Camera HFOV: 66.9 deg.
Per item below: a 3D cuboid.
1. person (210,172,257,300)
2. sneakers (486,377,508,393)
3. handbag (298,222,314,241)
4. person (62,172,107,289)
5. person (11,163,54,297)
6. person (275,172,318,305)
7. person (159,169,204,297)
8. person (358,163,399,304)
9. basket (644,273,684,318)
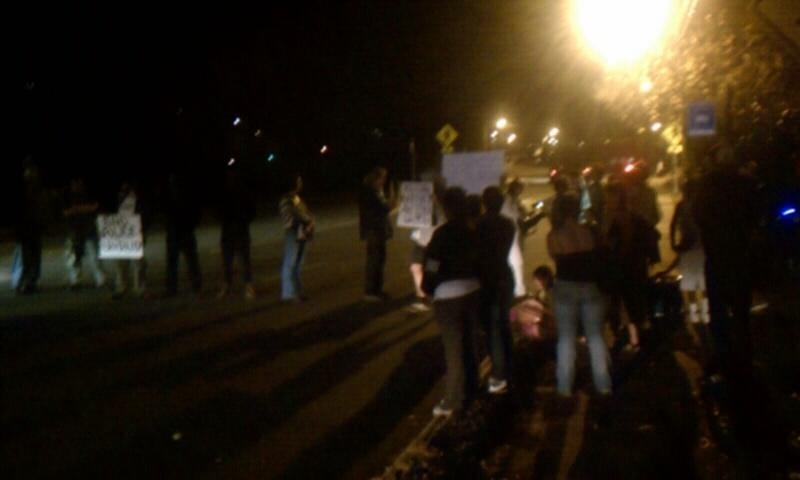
[{"bbox_3d":[-3.261,-0.101,12.039,0.783,2.713,0.771,-2,22,-19],"label":"person"},{"bbox_3d":[1.457,2.138,8.959,0.245,0.250,0.216,-1,-4,5],"label":"sneakers"},{"bbox_3d":[-1.803,-0.150,11.602,0.320,0.345,0.151,-8,12,-29],"label":"handbag"},{"bbox_3d":[-6.913,-0.120,13.180,0.682,2.493,0.941,-8,12,-31],"label":"person"},{"bbox_3d":[-7.808,-0.240,12.761,0.987,2.852,0.401,2,11,18],"label":"person"},{"bbox_3d":[-2.032,0.023,11.783,0.493,2.518,0.704,-10,13,-39],"label":"person"},{"bbox_3d":[-4.304,-0.109,11.902,0.628,2.462,0.676,-6,11,-24],"label":"person"},{"bbox_3d":[-0.433,-0.073,11.786,0.643,2.633,0.363,-2,10,-3],"label":"person"},{"bbox_3d":[4.250,0.984,9.705,0.572,0.882,0.567,-3,-9,37],"label":"basket"}]
